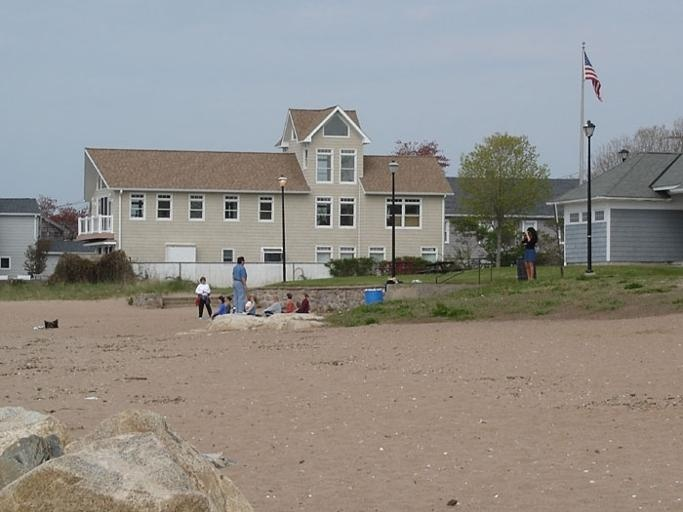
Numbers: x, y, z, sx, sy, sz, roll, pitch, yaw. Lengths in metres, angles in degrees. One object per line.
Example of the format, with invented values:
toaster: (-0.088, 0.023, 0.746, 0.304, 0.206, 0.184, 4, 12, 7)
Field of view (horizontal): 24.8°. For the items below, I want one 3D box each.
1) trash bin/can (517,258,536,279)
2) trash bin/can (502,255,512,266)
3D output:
trash bin/can: (6.270, 0.390, 52.991, 0.568, 0.691, 1.135, 0, -3, 6)
trash bin/can: (8.501, 0.185, 80.114, 0.420, 0.391, 0.500, 3, -7, -12)
